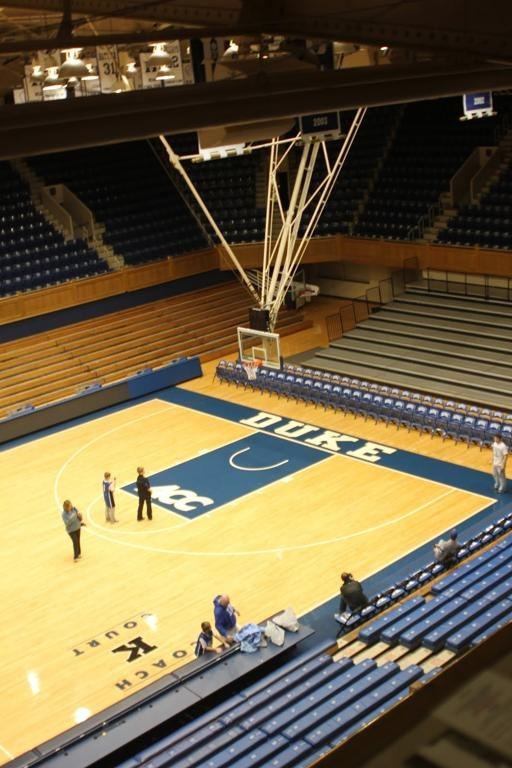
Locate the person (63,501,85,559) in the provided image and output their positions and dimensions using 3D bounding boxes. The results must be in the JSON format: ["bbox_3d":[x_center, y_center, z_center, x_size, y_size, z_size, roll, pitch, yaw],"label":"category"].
[{"bbox_3d":[-3.677,2.844,12.229,0.311,1.402,1.042,-6,13,-17],"label":"person"}]
